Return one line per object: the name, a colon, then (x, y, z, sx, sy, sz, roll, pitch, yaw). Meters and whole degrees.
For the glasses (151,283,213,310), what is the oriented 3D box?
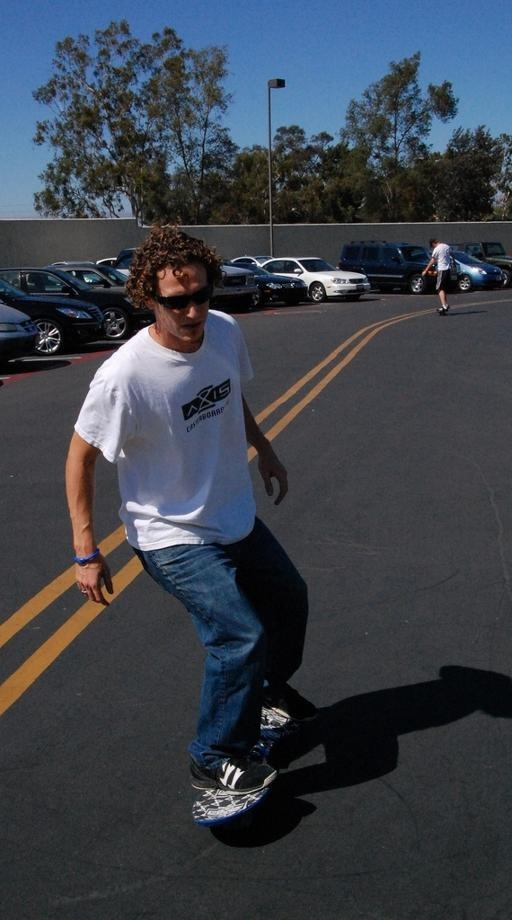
glasses: (-0.188, -0.429, 1.854, 0.157, 0.066, 0.107, -4, 10, -14)

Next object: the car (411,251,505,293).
car: (7.933, -7.656, 29.411, 4.518, 2.082, 2.612, 5, 17, 28)

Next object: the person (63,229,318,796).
person: (-0.157, 0.134, 2.044, 0.547, 1.568, 0.670, 1, 9, 16)

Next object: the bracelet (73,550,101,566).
bracelet: (-0.444, 0.254, 1.828, 0.064, 0.043, 0.065, -4, 10, -13)

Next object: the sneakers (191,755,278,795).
sneakers: (-0.056, 0.808, 1.864, 0.218, 0.109, 0.104, -2, -1, 14)

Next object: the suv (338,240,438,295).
suv: (5.492, -7.975, 28.685, 3.404, 1.862, 2.146, 5, 16, 31)

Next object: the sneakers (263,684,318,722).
sneakers: (0.110, 0.805, 2.292, 0.170, 0.109, 0.044, 25, -2, -6)
